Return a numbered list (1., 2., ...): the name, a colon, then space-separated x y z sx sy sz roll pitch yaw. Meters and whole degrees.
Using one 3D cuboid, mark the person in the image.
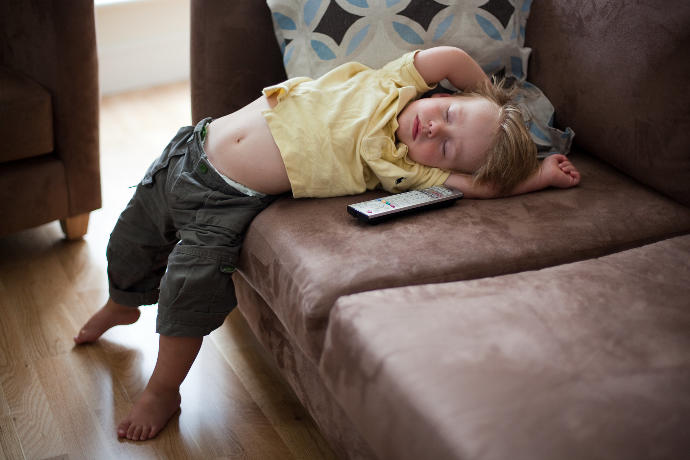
1. person: 0.053 -0.011 1.588 1.336 0.551 0.818 -29 59 -19
